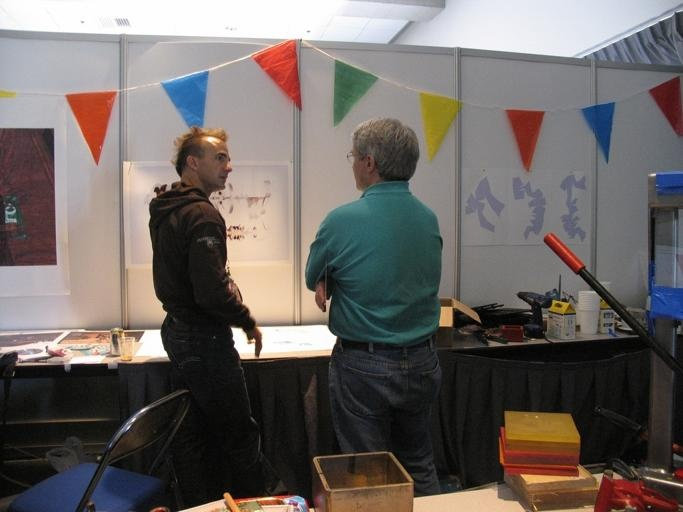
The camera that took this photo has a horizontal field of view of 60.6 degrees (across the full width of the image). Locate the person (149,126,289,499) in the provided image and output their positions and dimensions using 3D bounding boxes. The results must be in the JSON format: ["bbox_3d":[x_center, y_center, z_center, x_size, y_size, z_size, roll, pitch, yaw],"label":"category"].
[{"bbox_3d":[-0.639,0.304,2.904,0.470,1.895,0.447,-2,3,24],"label":"person"}]

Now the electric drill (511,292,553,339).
[{"bbox_3d":[1.155,0.358,3.614,0.088,0.275,0.284,7,8,-26],"label":"electric drill"}]

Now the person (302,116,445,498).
[{"bbox_3d":[0.148,0.217,2.510,0.588,1.595,0.245,-3,3,6],"label":"person"}]
